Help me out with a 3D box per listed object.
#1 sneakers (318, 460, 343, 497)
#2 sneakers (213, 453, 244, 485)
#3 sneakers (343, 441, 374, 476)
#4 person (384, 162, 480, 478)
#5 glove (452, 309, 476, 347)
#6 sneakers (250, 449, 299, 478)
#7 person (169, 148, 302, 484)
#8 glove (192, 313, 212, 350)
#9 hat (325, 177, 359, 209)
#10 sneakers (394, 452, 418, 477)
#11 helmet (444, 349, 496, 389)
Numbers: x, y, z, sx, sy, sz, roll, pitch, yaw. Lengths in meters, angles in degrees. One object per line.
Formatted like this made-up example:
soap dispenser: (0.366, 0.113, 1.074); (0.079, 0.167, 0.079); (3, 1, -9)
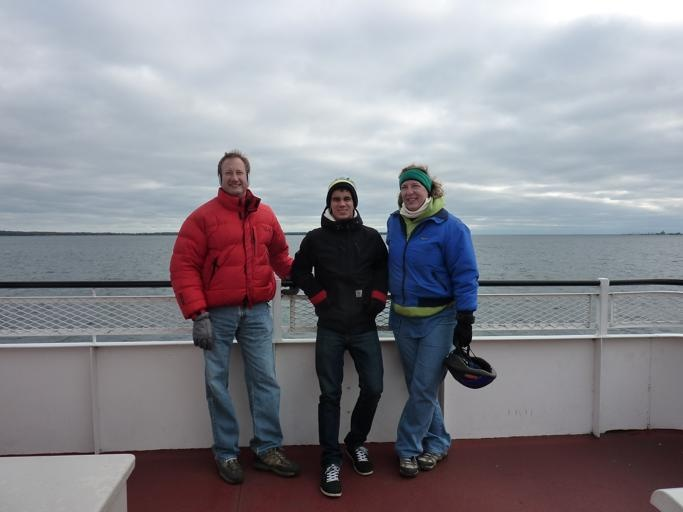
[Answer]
sneakers: (-0.077, 1.679, 4.081); (0.146, 0.134, 0.369); (3, 9, -5)
sneakers: (-0.882, 1.664, 4.189); (0.121, 0.104, 0.257); (4, -4, -39)
sneakers: (0.144, 1.614, 4.288); (0.116, 0.116, 0.314); (2, 0, -27)
person: (0.704, 0.491, 4.276); (0.736, 2.422, 0.490); (1, 4, 11)
glove: (0.947, 0.560, 4.148); (0.153, 0.296, 0.149); (1, 4, 9)
sneakers: (-0.499, 1.605, 4.273); (0.439, 0.199, 0.155); (5, 9, 18)
person: (-0.858, 0.447, 4.268); (0.959, 2.555, 0.567); (-1, 4, -11)
glove: (-1.073, 0.581, 4.140); (0.159, 0.304, 0.124); (-2, 4, -28)
hat: (-0.002, -0.500, 4.179); (0.241, 0.230, 0.292); (0, 3, -2)
sneakers: (0.535, 1.642, 4.208); (0.170, 0.146, 0.131); (-1, 4, -13)
helmet: (0.987, 0.864, 4.137); (0.361, 0.310, 0.274); (1, 4, 10)
